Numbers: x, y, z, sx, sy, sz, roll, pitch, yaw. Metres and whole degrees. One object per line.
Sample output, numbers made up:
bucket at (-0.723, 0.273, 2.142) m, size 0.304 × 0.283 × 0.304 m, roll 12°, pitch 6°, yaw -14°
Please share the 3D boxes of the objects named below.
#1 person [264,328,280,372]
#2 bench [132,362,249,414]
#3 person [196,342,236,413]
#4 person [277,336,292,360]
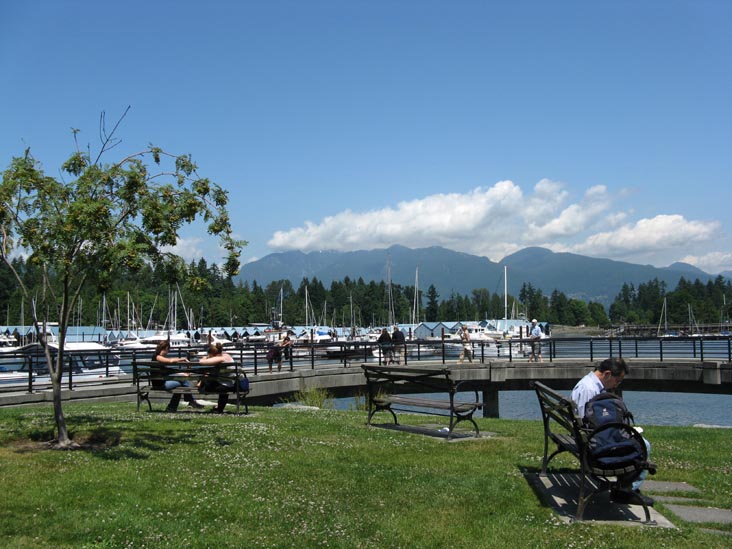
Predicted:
person at (-4.213, 3.246, 36.281) m, size 0.679 × 2.333 × 0.526 m, roll -3°, pitch 15°, yaw -15°
bench at (-4.422, 2.821, 20.005) m, size 2.647 × 1.208 × 0.897 m, roll -1°, pitch -10°, yaw 10°
person at (-3.785, 2.584, 20.151) m, size 0.966 × 1.932 × 0.866 m, roll 9°, pitch 11°, yaw -18°
person at (-3.271, 2.889, 32.135) m, size 0.701 × 1.060 × 0.412 m, roll -2°, pitch -6°, yaw 20°
